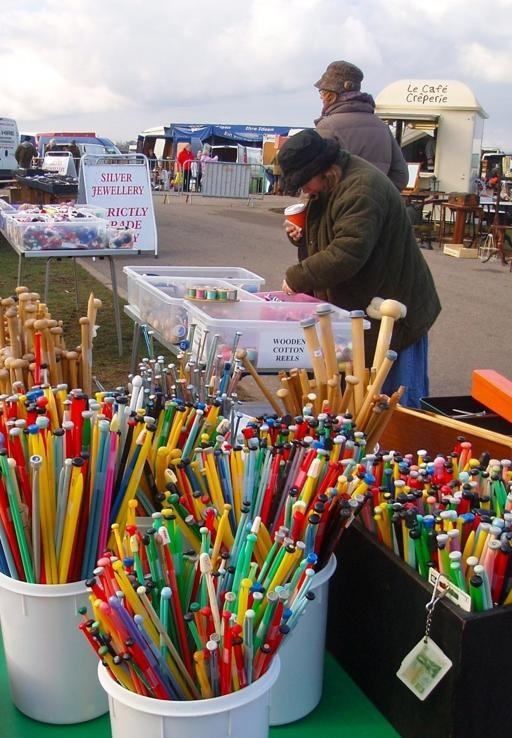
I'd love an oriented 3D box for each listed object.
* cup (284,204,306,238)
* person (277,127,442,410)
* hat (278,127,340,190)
[{"bbox_3d":[0.180,-0.682,2.465,0.122,0.127,0.124,-3,36,2],"label":"cup"},{"bbox_3d":[0.483,-0.360,2.565,0.712,1.518,0.692,-8,32,6],"label":"person"},{"bbox_3d":[0.194,-0.833,2.101,0.223,0.253,0.271,6,12,21],"label":"hat"}]
